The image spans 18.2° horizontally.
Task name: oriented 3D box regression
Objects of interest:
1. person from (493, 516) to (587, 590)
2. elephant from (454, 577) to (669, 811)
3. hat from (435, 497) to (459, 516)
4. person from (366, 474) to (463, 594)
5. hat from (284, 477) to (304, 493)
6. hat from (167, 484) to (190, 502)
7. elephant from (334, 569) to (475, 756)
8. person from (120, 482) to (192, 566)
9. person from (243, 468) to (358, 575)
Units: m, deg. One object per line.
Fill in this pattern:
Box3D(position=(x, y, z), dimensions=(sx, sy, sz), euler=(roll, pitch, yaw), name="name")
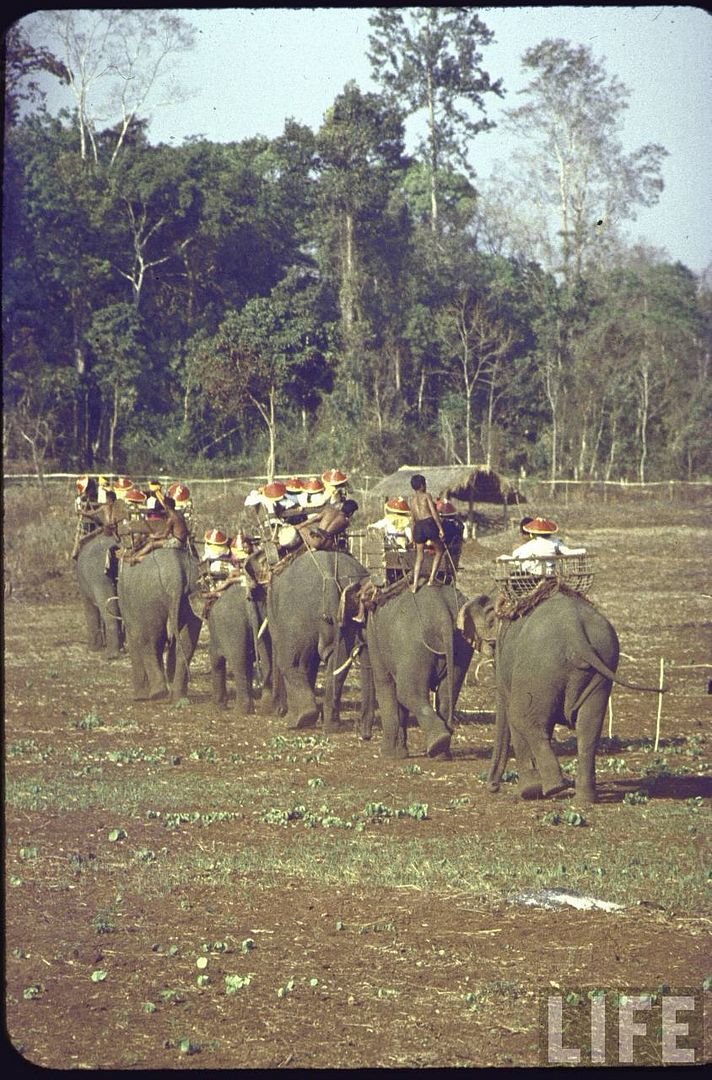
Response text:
Box3D(position=(1.592, 0.190, 19.250), dimensions=(0.493, 0.558, 0.776), euler=(-1, 10, -2), name="person")
Box3D(position=(1.698, 1.362, 18.804), dimensions=(0.727, 1.943, 1.877), euler=(-1, 6, -19), name="elephant")
Box3D(position=(0.867, -0.289, 21.561), dimensions=(0.168, 0.165, 0.429), euler=(2, 6, 10), name="hat")
Box3D(position=(0.611, -0.020, 21.652), dimensions=(0.943, 1.698, 0.872), euler=(0, -5, 6), name="person")
Box3D(position=(-0.692, -0.583, 24.115), dimensions=(0.211, 0.266, 0.236), euler=(0, -1, -4), name="hat")
Box3D(position=(-2.081, -0.533, 25.895), dimensions=(0.178, 0.215, 0.242), euler=(0, -3, -1), name="hat")
Box3D(position=(0.599, 1.300, 21.694), dimensions=(0.630, 1.780, 1.290), euler=(-2, 6, -27), name="elephant")
Box3D(position=(-2.258, -0.150, 25.530), dimensions=(0.431, 0.858, 1.198), euler=(6, -12, -25), name="person")
Box3D(position=(-0.422, -0.210, 23.738), dimensions=(0.878, 0.888, 1.056), euler=(-7, 6, -35), name="person")
